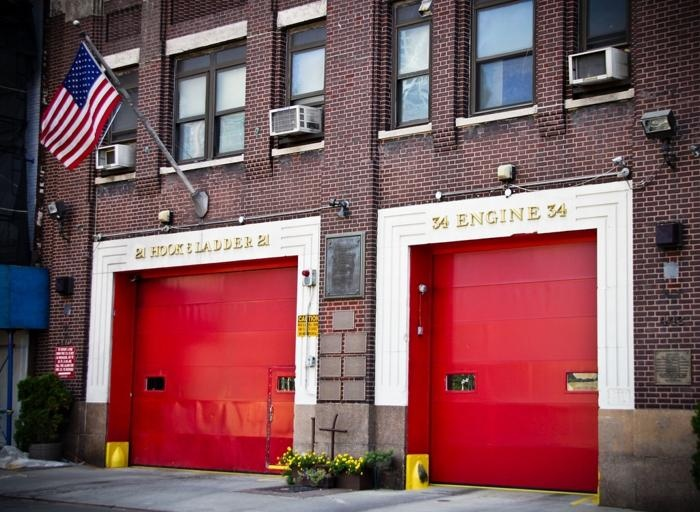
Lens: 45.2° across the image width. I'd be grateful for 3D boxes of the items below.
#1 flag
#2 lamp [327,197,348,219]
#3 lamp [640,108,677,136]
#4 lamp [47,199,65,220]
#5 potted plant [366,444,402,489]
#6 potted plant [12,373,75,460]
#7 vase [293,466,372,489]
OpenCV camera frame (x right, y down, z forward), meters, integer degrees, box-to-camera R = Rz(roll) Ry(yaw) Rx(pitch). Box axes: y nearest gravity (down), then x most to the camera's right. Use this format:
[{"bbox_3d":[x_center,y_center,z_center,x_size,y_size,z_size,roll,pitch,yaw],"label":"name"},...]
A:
[{"bbox_3d":[-6.495,-3.665,20.232,2.123,2.997,0.318,-2,-1,24],"label":"flag"},{"bbox_3d":[-0.212,-1.042,19.077,0.499,0.527,0.357,-6,-10,43],"label":"lamp"},{"bbox_3d":[5.708,-2.381,15.525,0.584,0.546,0.447,-3,15,41],"label":"lamp"},{"bbox_3d":[-8.162,-1.287,23.410,0.529,0.630,0.440,-2,2,9],"label":"lamp"},{"bbox_3d":[0.789,4.484,17.857,0.792,0.896,0.739,-2,-15,10],"label":"potted plant"},{"bbox_3d":[-8.064,4.288,22.283,1.454,2.238,0.811,-2,-1,-21],"label":"potted plant"},{"bbox_3d":[-0.403,4.712,17.785,1.648,0.297,0.462,-2,-1,14],"label":"vase"}]
